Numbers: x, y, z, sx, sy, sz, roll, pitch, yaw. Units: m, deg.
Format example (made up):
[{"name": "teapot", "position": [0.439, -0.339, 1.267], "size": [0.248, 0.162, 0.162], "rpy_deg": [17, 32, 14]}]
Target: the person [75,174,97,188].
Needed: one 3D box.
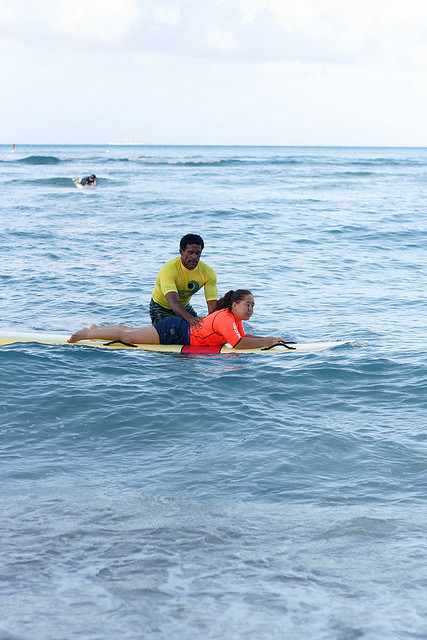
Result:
[{"name": "person", "position": [-5.482, -6.066, 36.333], "size": [0.948, 0.459, 1.215], "rpy_deg": [-9, 16, -33]}]

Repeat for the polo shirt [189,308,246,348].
[{"name": "polo shirt", "position": [0.069, 0.034, 8.914], "size": [0.677, 0.246, 0.283], "rpy_deg": [-4, 41, -12]}]

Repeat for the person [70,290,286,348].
[{"name": "person", "position": [-0.386, 0.020, 9.264], "size": [2.335, 0.535, 0.603], "rpy_deg": [1, 15, 3]}]

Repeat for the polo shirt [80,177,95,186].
[{"name": "polo shirt", "position": [-5.495, -6.013, 36.050], "size": [0.691, 0.377, 0.431], "rpy_deg": [7, 14, 20]}]

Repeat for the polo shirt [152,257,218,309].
[{"name": "polo shirt", "position": [-0.293, -0.421, 9.476], "size": [0.650, 0.606, 0.357], "rpy_deg": [-2, 15, -19]}]

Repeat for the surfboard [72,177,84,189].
[{"name": "surfboard", "position": [-5.893, -5.913, 36.440], "size": [0.143, 0.183, 0.772], "rpy_deg": [20, 15, -37]}]
